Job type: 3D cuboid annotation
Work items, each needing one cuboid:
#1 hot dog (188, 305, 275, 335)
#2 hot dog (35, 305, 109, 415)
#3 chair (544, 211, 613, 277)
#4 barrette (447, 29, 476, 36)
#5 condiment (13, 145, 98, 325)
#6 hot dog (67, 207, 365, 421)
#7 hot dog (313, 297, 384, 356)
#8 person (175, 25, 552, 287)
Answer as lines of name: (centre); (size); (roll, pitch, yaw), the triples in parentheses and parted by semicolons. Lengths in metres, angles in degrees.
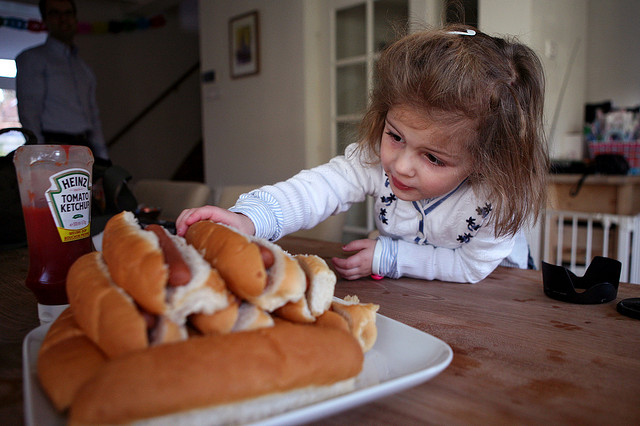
hot dog: (-0.125, 0.151, 0.678); (0.059, 0.023, 0.059); (9, 0, -21)
hot dog: (-0.355, 0.190, 0.690); (0.103, 0.050, 0.188); (-4, 28, -22)
chair: (0.998, 0.107, 1.843); (0.242, 0.233, 0.240); (-3, 6, -28)
barrette: (0.292, -0.362, 0.968); (0.051, 0.014, 0.025); (-5, 13, -11)
condiment: (-0.450, 0.034, 0.804); (0.123, 0.289, 0.168); (-4, 13, -8)
hot dog: (-0.195, 0.084, 0.655); (0.263, 0.101, 0.315); (-17, 33, -20)
hot dog: (0.050, 0.162, 0.718); (0.079, 0.025, 0.075); (26, 43, 22)
person: (0.145, -0.179, 1.332); (0.620, 0.923, 0.720); (21, 41, 31)
